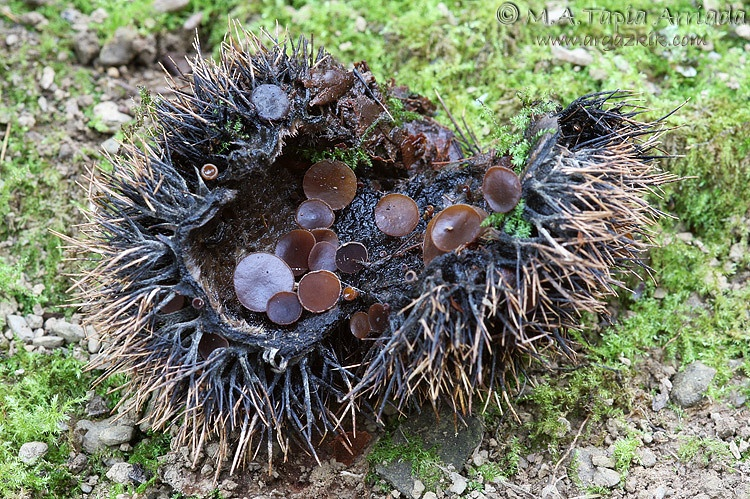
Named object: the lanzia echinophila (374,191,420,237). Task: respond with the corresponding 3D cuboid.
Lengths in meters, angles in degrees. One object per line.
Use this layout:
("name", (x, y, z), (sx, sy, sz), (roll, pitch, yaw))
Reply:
("lanzia echinophila", (0.154, -0.243, 4.640), (0.321, 0.121, 0.285), (25, 83, 5))

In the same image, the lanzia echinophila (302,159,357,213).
("lanzia echinophila", (-0.328, -0.482, 4.789), (0.376, 0.179, 0.320), (25, 82, 5))

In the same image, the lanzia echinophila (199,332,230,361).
("lanzia echinophila", (-1.088, 0.615, 4.363), (0.214, 0.070, 0.148), (-27, 82, -3))

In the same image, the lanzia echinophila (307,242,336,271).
("lanzia echinophila", (-0.375, 0.043, 4.673), (0.204, 0.076, 0.211), (1, 81, 1))

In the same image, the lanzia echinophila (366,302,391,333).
("lanzia echinophila", (0.022, 0.444, 4.328), (0.140, 0.212, 0.198), (0, 81, 2))
